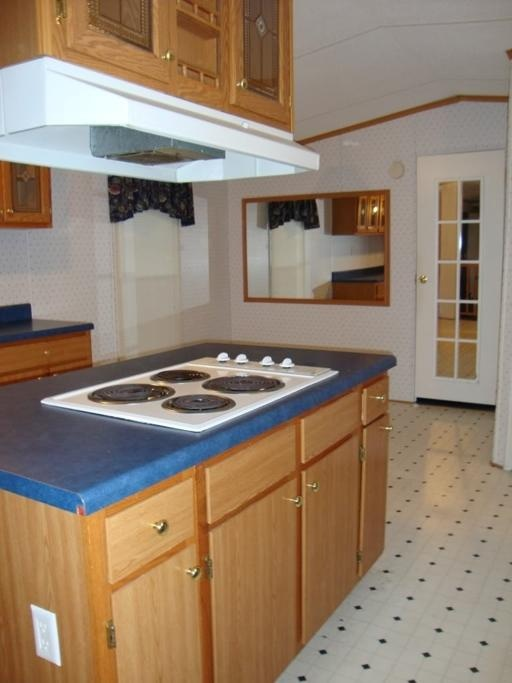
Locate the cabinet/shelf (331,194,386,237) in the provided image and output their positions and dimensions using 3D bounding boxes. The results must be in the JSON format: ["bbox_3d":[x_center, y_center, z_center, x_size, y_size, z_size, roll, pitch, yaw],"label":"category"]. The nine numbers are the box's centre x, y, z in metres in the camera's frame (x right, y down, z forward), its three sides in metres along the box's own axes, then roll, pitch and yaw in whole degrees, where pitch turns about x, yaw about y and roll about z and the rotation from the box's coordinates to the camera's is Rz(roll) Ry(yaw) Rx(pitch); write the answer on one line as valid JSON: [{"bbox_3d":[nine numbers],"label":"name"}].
[{"bbox_3d":[0.925,-1.126,4.995,0.382,0.314,0.136,8,15,35],"label":"cabinet/shelf"}]

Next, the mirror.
[{"bbox_3d":[0.561,-0.871,5.274,1.576,1.061,0.035,7,14,35],"label":"mirror"}]
